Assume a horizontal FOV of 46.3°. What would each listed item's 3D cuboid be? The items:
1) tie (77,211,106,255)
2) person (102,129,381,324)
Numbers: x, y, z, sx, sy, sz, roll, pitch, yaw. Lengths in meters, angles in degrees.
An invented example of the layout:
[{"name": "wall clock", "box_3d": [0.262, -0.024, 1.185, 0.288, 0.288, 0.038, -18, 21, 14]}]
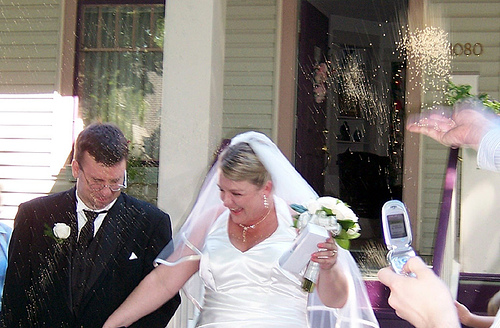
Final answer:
[{"name": "tie", "box_3d": [-1.505, 0.636, 5.395, 0.134, 0.506, 0.037, 13, -18, -10]}, {"name": "person", "box_3d": [-0.022, 0.585, 5.075, 2.012, 1.722, 0.627, 1, 1, 14]}]
